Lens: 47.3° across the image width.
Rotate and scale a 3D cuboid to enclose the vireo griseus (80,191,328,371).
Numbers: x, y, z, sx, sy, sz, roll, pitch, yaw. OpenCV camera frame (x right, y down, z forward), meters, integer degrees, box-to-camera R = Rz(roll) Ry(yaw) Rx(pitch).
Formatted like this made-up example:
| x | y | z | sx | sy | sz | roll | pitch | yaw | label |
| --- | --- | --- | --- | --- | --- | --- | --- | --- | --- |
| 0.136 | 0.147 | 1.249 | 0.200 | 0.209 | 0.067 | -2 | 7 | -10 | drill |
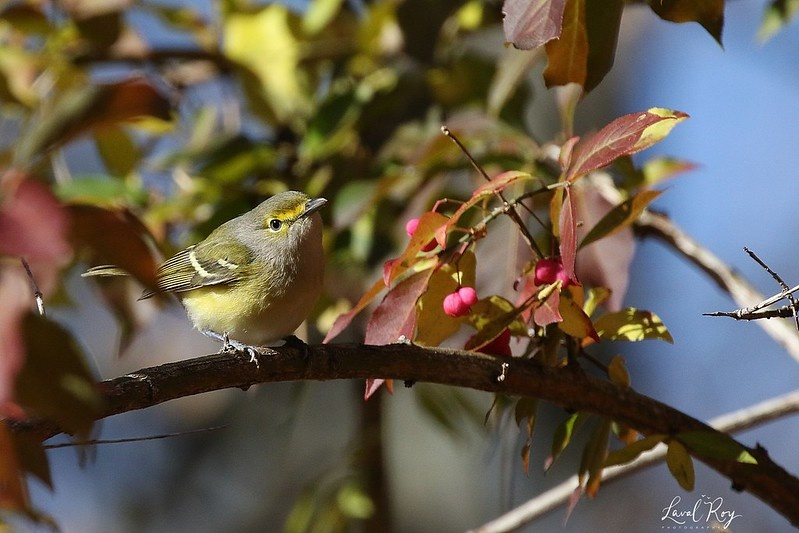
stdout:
| x | y | z | sx | sy | sz | roll | pitch | yaw | label |
| --- | --- | --- | --- | --- | --- | --- | --- | --- | --- |
| -0.700 | 0.021 | 4.192 | 0.762 | 0.668 | 0.583 | -6 | 6 | 5 | vireo griseus |
